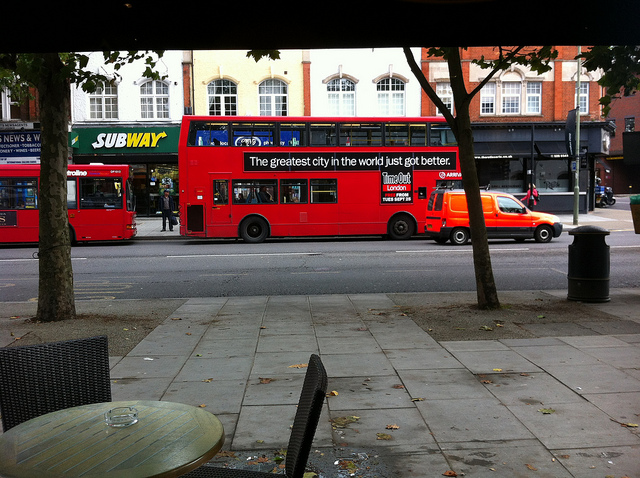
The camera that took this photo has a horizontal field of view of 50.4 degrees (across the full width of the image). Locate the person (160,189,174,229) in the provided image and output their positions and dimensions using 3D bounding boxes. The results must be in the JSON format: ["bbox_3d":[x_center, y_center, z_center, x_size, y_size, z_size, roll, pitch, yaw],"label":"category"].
[{"bbox_3d":[-6.639,-1.270,29.766,0.433,1.759,1.563,0,6,-12],"label":"person"}]

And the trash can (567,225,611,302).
[{"bbox_3d":[4.772,0.441,12.170,0.770,1.319,0.707,6,8,12],"label":"trash can"}]

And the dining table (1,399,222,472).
[{"bbox_3d":[-1.524,1.485,5.025,1.583,0.235,0.856,2,6,11],"label":"dining table"}]

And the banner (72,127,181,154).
[{"bbox_3d":[-9.658,-4.999,34.432,4.922,1.456,0.474,1,6,-3],"label":"banner"}]

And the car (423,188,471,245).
[{"bbox_3d":[3.949,-0.824,23.440,2.212,1.301,1.351,-3,6,-9],"label":"car"}]

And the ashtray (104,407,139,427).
[{"bbox_3d":[-1.514,1.376,5.258,0.287,0.072,0.254,3,7,21],"label":"ashtray"}]
